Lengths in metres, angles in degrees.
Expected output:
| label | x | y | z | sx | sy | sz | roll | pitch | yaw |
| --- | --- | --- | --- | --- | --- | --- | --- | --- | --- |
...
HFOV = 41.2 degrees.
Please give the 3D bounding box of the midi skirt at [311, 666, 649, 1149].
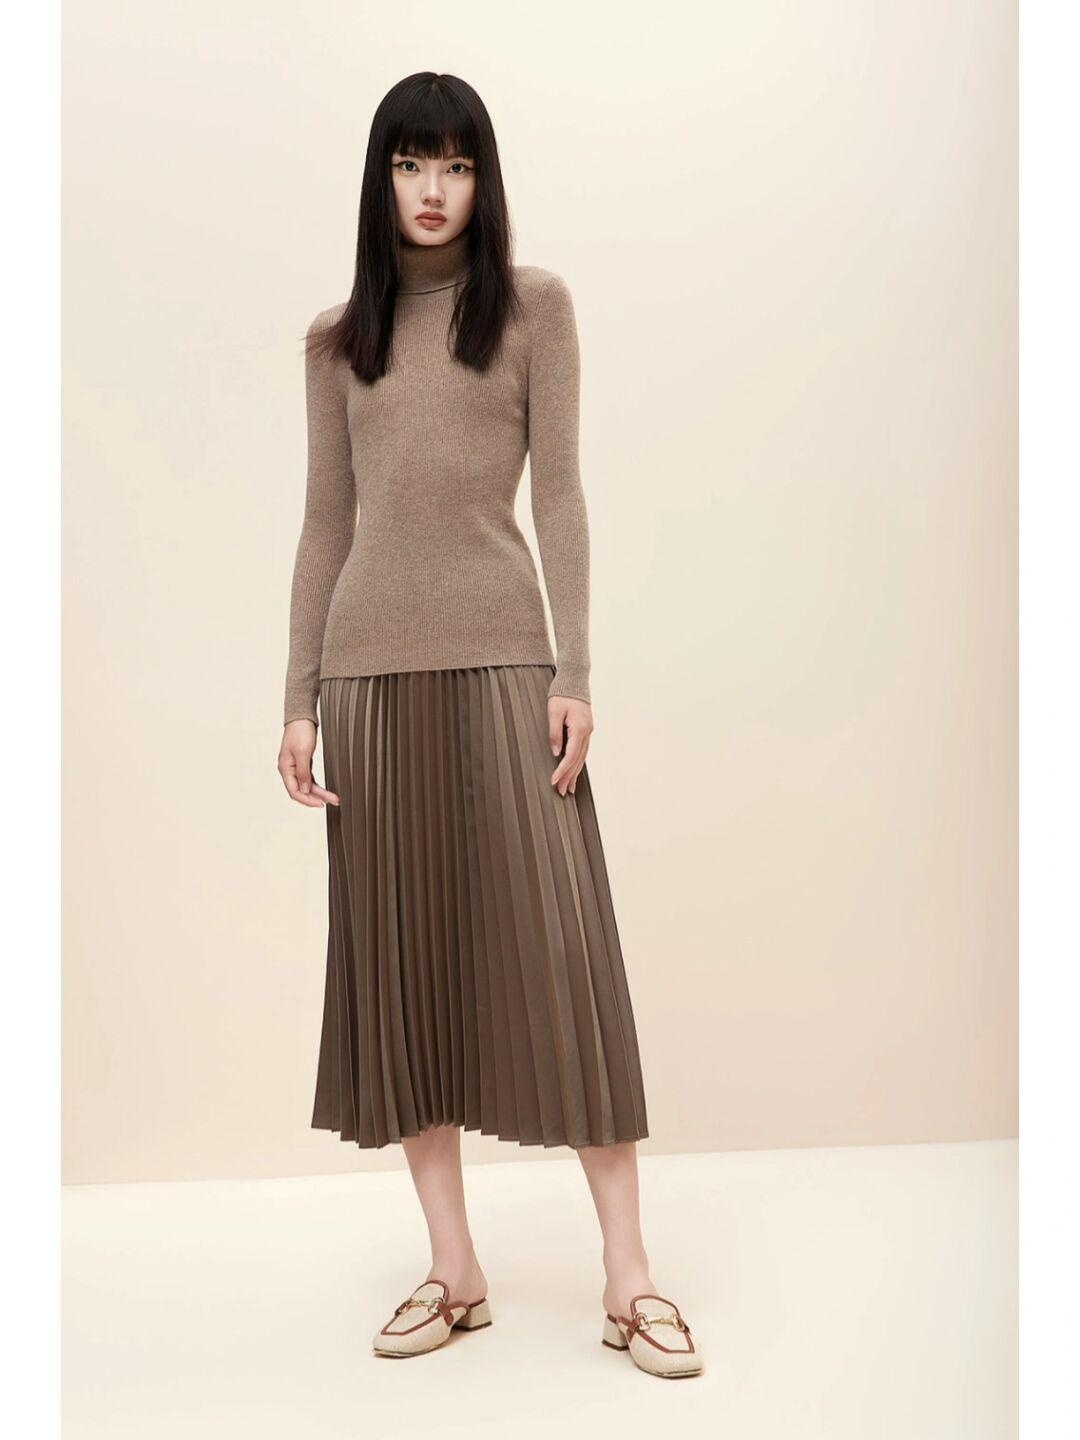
| label | x | y | z | sx | sy | sz | roll | pitch | yaw |
| --- | --- | --- | --- | --- | --- | --- | --- | --- | --- |
| midi skirt | -0.093 | 0.229 | 1.887 | 0.435 | 0.682 | 0.227 | 0 | 23 | 6 |
